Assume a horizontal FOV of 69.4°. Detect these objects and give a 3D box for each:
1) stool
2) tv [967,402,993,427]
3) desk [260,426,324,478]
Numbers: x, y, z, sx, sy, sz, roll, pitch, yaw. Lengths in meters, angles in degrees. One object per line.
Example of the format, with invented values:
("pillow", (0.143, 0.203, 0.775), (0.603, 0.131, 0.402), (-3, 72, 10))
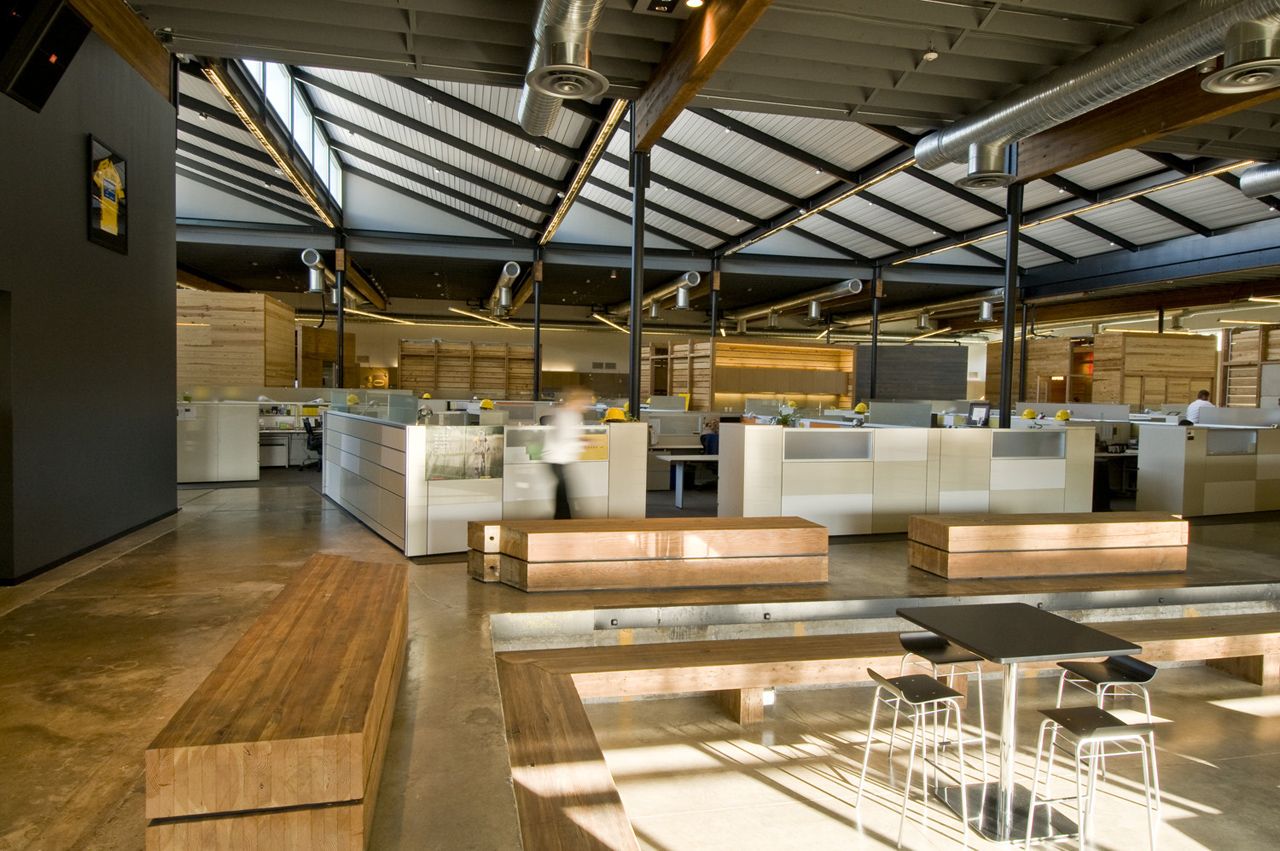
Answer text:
("stool", (3.019, 2.435, 7.477), (1.330, 1.853, 1.020), (0, 2, -20))
("tv", (5.389, -0.157, 14.554), (0.193, 0.439, 0.577), (11, 1, -5))
("desk", (-6.969, 0.531, 18.332), (2.278, 0.994, 0.960), (0, 0, -19))
